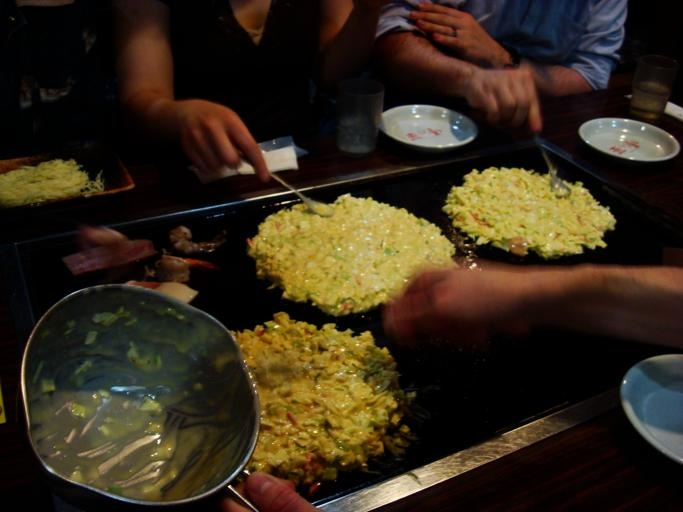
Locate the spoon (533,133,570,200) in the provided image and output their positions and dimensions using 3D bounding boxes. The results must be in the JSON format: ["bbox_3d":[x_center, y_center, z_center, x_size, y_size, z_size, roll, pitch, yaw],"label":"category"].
[{"bbox_3d":[0.785,-0.328,2.063,0.067,0.036,0.249,-3,49,-19],"label":"spoon"}]

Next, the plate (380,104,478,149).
[{"bbox_3d":[0.328,-0.504,2.092,0.294,0.043,0.259,-10,41,-20],"label":"plate"}]

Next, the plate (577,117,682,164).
[{"bbox_3d":[1.137,-0.473,2.154,0.299,0.035,0.259,0,39,-2],"label":"plate"}]

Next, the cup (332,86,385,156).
[{"bbox_3d":[0.059,-0.484,1.925,0.241,0.244,0.225,2,39,-2],"label":"cup"}]

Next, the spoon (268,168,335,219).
[{"bbox_3d":[-0.140,-0.203,1.800,0.282,0.038,0.053,35,73,-16],"label":"spoon"}]

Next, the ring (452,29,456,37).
[{"bbox_3d":[0.539,-1.079,2.590,0.013,0.033,0.039,10,18,33],"label":"ring"}]

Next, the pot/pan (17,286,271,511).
[{"bbox_3d":[-0.393,0.294,1.085,0.444,0.284,0.430,-5,44,-8],"label":"pot/pan"}]
